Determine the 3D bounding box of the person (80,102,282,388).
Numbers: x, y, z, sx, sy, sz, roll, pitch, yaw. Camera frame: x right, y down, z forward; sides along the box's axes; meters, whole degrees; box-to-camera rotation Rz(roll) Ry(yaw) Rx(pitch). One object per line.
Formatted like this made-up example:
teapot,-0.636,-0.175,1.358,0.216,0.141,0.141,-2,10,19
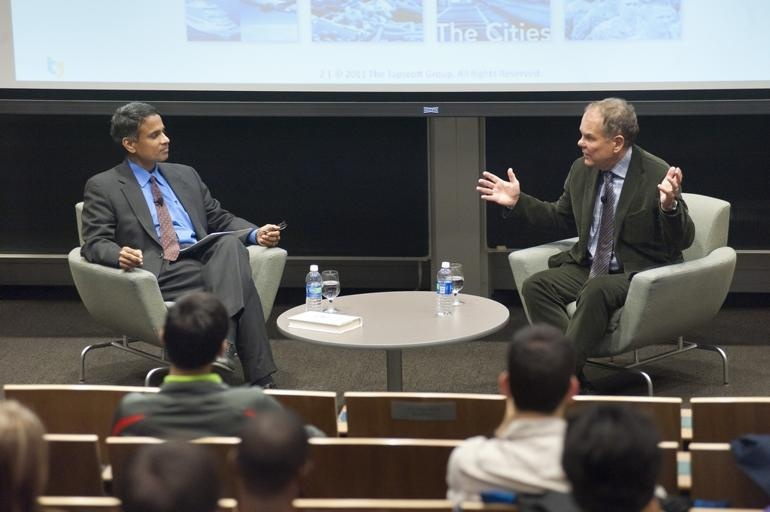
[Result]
person,-1.088,-0.053,4.054,1.111,1.458,0.974,10,15,34

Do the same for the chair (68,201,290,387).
chair,-1.086,0.176,4.222,1.032,1.157,1.283,-1,-3,43

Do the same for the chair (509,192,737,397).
chair,1.396,0.202,4.131,0.946,0.916,1.113,-13,13,-26

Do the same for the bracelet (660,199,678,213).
bracelet,1.407,-0.240,3.637,0.071,0.076,0.047,2,52,-10

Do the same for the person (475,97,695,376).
person,1.042,-0.040,3.887,1.191,1.454,1.002,0,10,6
